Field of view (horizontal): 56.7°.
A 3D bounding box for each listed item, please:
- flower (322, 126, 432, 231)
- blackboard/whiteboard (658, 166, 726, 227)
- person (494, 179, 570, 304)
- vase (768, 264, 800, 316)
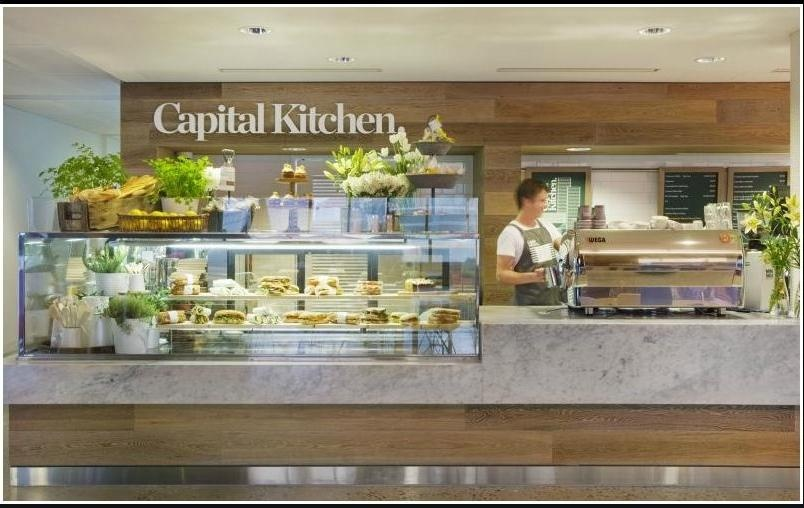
[{"bbox_3d":[-0.180,-0.562,5.886,0.792,0.805,0.487,0,-3,9],"label":"flower"},{"bbox_3d":[3.076,-0.643,7.828,1.023,0.865,0.074,0,0,0],"label":"blackboard/whiteboard"},{"bbox_3d":[1.109,-0.119,6.413,0.567,1.125,1.018,0,-3,11],"label":"person"},{"bbox_3d":[3.018,0.301,5.841,0.216,0.383,0.215,0,-3,23],"label":"vase"}]
